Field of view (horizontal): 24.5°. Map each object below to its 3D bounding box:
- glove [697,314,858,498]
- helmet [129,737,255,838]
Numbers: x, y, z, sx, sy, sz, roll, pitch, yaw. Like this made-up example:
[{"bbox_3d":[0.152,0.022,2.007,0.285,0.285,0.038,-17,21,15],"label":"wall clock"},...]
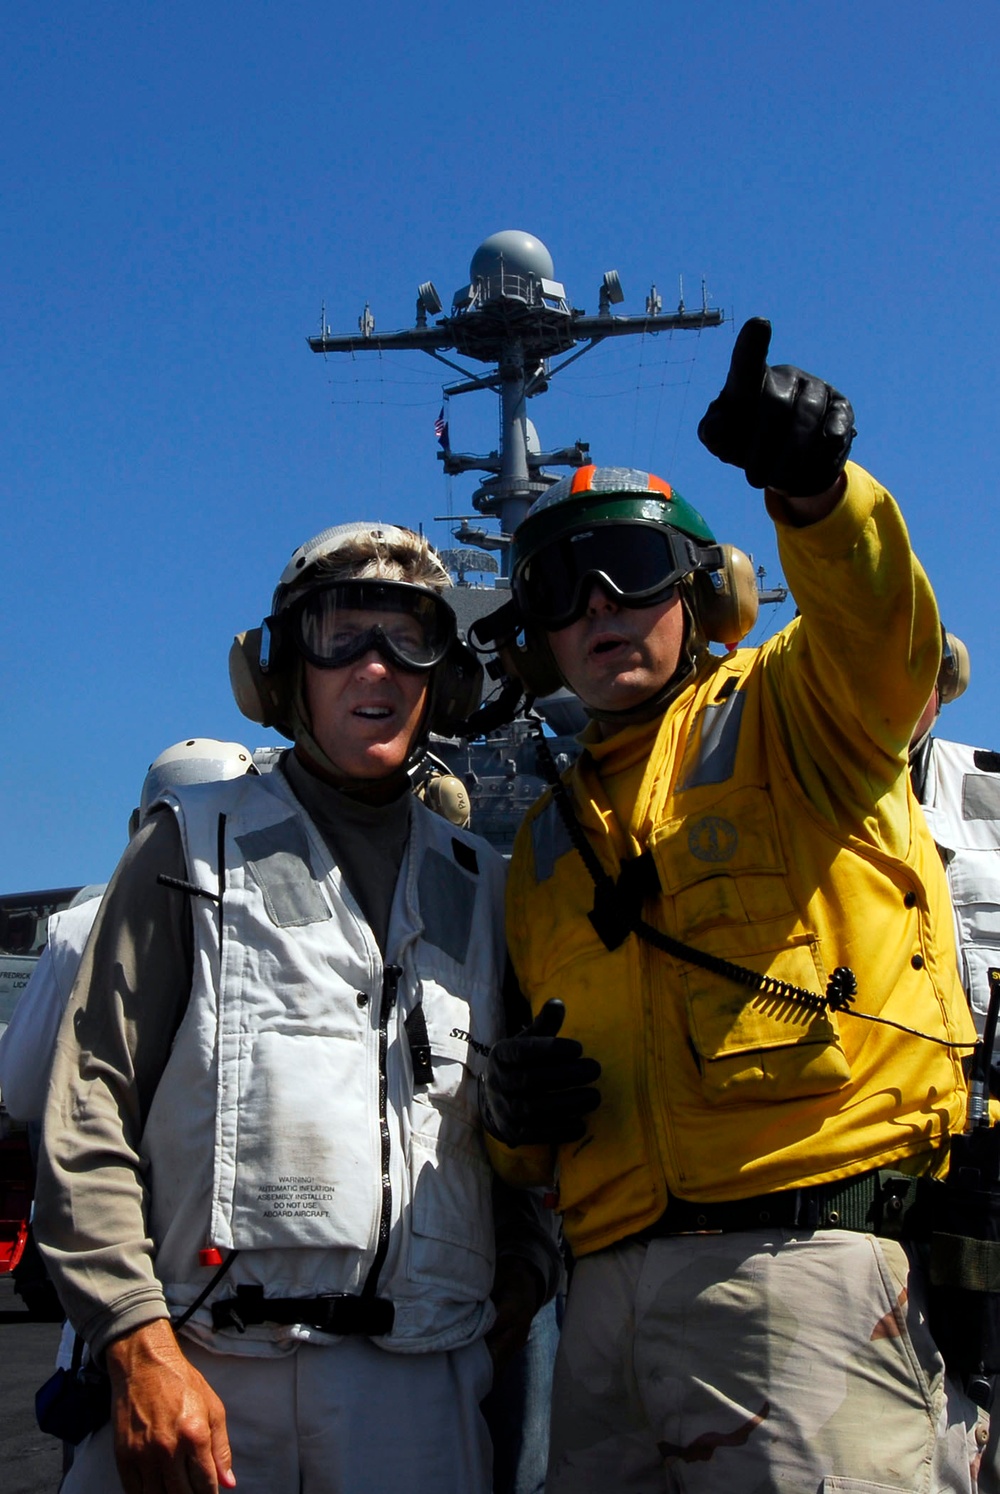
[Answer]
[{"bbox_3d":[0.440,-0.527,3.587,0.225,0.264,0.147,-6,10,-35],"label":"glove"},{"bbox_3d":[-0.754,0.109,5.693,0.209,0.256,0.241,-11,53,0],"label":"helmet"}]
